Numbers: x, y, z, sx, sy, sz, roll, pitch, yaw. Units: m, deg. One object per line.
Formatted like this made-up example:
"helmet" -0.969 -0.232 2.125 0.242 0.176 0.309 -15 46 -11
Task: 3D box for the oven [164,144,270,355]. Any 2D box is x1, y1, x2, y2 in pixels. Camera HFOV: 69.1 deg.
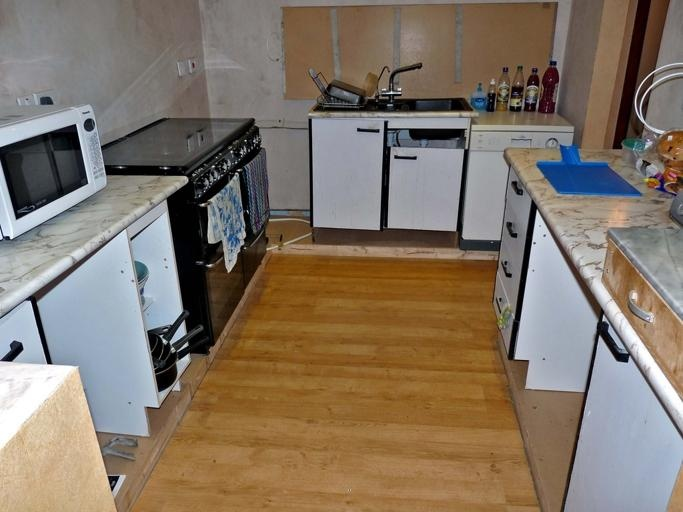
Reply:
"oven" -0.744 -0.163 3.039 0.422 0.984 1.329 0 21 6

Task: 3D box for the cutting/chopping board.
"cutting/chopping board" 1.074 -0.389 2.201 0.349 0.122 0.493 4 23 8

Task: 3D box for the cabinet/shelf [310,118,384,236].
"cabinet/shelf" 0.064 -0.703 3.831 0.676 0.840 0.705 -8 29 -16

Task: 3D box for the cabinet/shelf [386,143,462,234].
"cabinet/shelf" 0.537 -0.516 3.813 0.661 0.698 0.516 2 24 5

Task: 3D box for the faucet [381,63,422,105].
"faucet" 0.469 -1.332 3.800 0.311 0.365 0.226 0 48 4

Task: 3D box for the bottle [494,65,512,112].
"bottle" 1.235 -1.282 3.774 0.110 0.312 0.253 7 22 16

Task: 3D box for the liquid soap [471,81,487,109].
"liquid soap" 1.064 -1.238 3.823 0.128 0.195 0.241 5 22 12

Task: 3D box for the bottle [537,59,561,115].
"bottle" 1.569 -1.275 3.721 0.128 0.365 0.225 9 23 20
